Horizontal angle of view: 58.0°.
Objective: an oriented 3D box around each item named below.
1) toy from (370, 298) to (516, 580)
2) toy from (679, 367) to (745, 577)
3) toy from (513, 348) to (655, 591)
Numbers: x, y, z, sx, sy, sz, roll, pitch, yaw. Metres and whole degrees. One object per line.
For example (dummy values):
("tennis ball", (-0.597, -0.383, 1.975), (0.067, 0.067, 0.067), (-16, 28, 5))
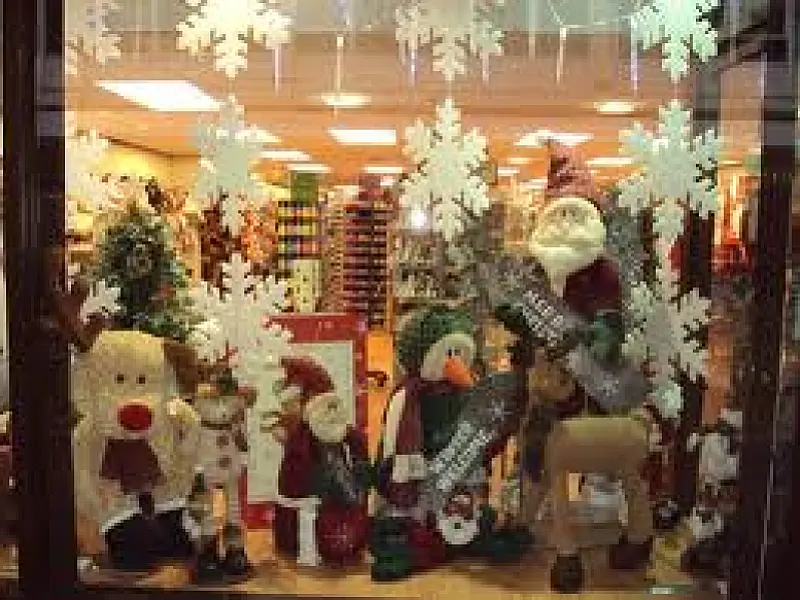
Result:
("toy", (0.116, 0.592, 3.262), (0.622, 1.154, 0.574), (-10, 25, -26))
("toy", (1.297, 0.714, 3.012), (0.203, 0.832, 0.124), (3, 3, 23))
("toy", (0.792, 0.689, 3.046), (0.589, 0.977, 0.256), (1, 2, -15))
